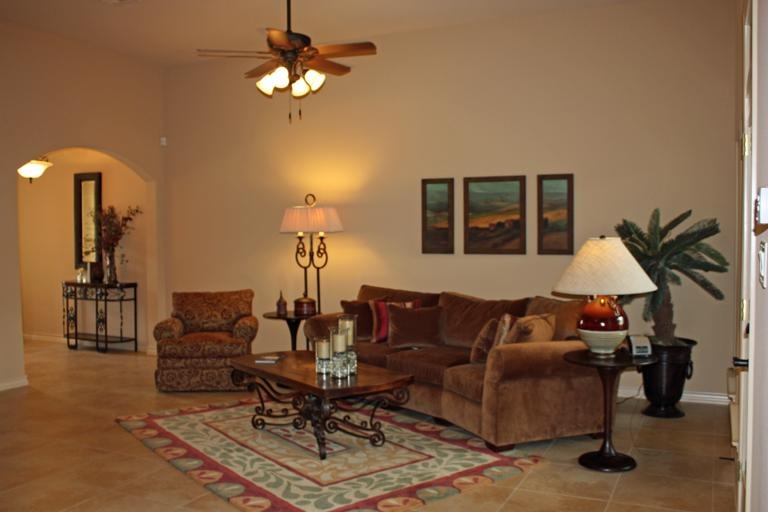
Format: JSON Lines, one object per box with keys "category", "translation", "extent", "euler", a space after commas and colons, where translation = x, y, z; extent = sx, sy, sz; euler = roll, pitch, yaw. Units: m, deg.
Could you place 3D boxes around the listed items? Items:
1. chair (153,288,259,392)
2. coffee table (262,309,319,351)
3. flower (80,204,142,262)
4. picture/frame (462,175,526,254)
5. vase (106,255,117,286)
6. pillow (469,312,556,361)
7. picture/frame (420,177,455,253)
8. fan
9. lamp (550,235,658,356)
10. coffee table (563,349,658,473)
{"category": "chair", "translation": [-2.144, 0.979, 7.286], "extent": [1.282, 1.164, 1.148], "euler": [0, -4, -5]}
{"category": "coffee table", "translation": [-1.128, 0.840, 7.257], "extent": [0.605, 0.626, 0.583], "euler": [-1, -1, 1]}
{"category": "flower", "translation": [-4.152, -0.422, 9.272], "extent": [1.048, 1.031, 0.878], "euler": [0, 8, -16]}
{"category": "picture/frame", "translation": [1.302, -0.486, 6.875], "extent": [0.929, 1.105, 0.086], "euler": [1, 4, 25]}
{"category": "vase", "translation": [-4.114, 0.191, 8.954], "extent": [0.159, 0.453, 0.422], "euler": [-4, 8, -24]}
{"category": "pillow", "translation": [1.138, 0.788, 5.377], "extent": [0.776, 0.499, 0.523], "euler": [2, 8, 16]}
{"category": "picture/frame", "translation": [0.644, -0.474, 7.131], "extent": [0.393, 0.898, 0.158], "euler": [1, 9, 12]}
{"category": "fan", "translation": [-1.007, -2.412, 6.512], "extent": [1.190, 0.754, 1.179], "euler": [1, 6, 12]}
{"category": "lamp", "translation": [1.801, 0.316, 5.110], "extent": [0.968, 1.037, 0.940], "euler": [-1, 1, 5]}
{"category": "coffee table", "translation": [1.896, 1.278, 5.232], "extent": [0.903, 1.064, 0.910], "euler": [0, 3, 25]}
